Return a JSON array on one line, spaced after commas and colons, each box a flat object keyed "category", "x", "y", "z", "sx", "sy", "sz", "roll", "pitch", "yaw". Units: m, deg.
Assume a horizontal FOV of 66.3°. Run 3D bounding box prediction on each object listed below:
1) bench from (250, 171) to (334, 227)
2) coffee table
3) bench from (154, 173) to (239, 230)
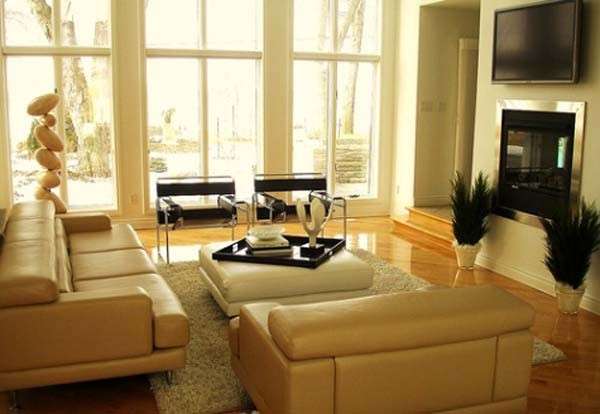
[{"category": "bench", "x": -0.065, "y": -0.050, "z": 6.725, "sx": 1.094, "sy": 0.775, "sz": 0.657, "roll": -4, "pitch": 8, "yaw": -29}, {"category": "coffee table", "x": -0.345, "y": 0.719, "z": 4.662, "sx": 1.007, "sy": 0.406, "sz": 0.952, "roll": -2, "pitch": 8, "yaw": -16}, {"category": "bench", "x": -1.501, "y": -0.085, "z": 6.691, "sx": 1.051, "sy": 0.718, "sz": 1.025, "roll": -4, "pitch": 3, "yaw": -17}]
